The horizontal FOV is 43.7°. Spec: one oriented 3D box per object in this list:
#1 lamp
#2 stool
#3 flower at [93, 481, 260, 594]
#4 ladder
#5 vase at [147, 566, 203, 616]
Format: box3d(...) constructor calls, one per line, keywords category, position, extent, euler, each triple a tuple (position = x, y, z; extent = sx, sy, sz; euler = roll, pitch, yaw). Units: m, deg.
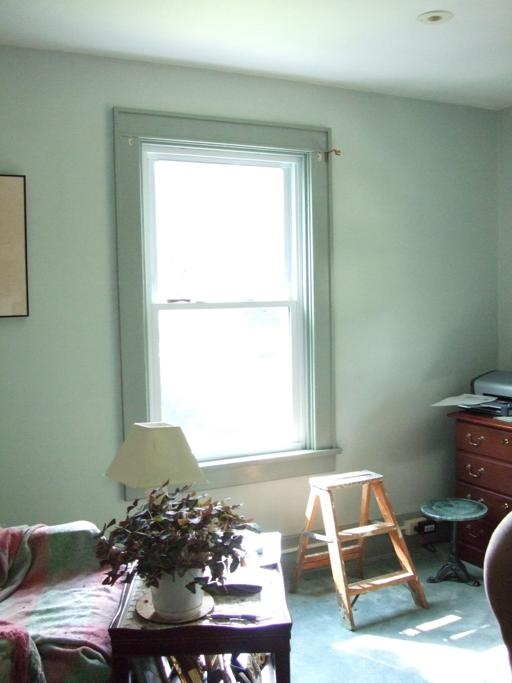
box3d(category="lamp", position=(-0.303, 0.352, 1.928), extent=(0.231, 0.152, 0.235), euler=(2, 4, 38))
box3d(category="stool", position=(1.002, 1.028, 3.248), extent=(0.348, 0.357, 0.326), euler=(13, -23, -18))
box3d(category="flower", position=(-0.242, 0.558, 1.777), extent=(0.390, 0.202, 0.363), euler=(-18, 5, -27))
box3d(category="ladder", position=(0.505, 0.934, 3.145), extent=(0.649, 0.580, 0.675), euler=(-3, 3, -27))
box3d(category="vase", position=(-0.217, 0.655, 1.759), extent=(0.148, 0.135, 0.137), euler=(1, 5, 20))
